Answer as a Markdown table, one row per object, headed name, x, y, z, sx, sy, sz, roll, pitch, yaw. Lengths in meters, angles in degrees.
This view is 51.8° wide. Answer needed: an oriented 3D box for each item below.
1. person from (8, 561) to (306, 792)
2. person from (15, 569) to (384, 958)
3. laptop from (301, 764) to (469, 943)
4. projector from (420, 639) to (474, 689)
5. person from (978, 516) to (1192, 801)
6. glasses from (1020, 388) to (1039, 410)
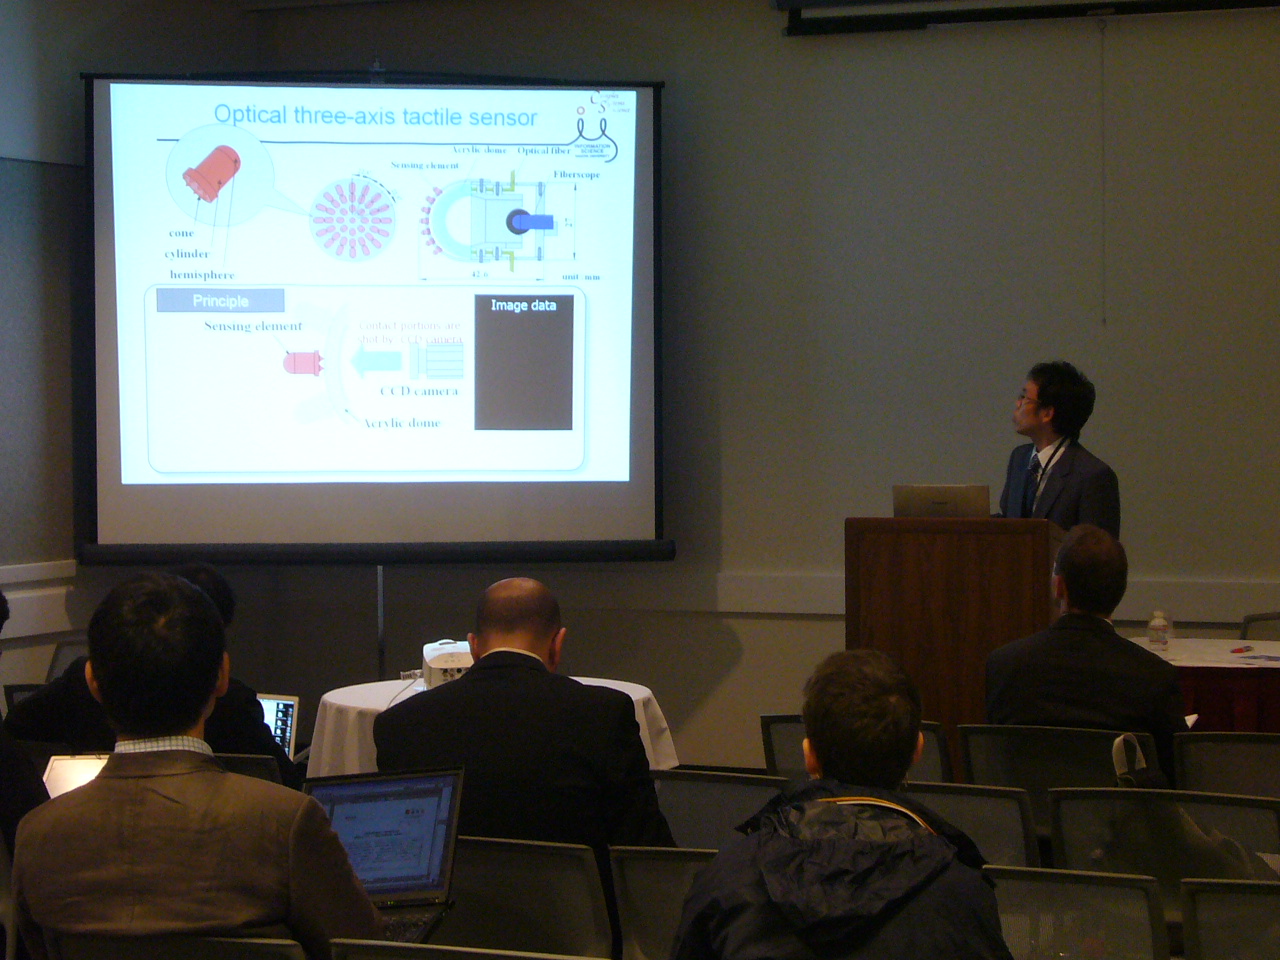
| name | x | y | z | sx | sy | sz | roll | pitch | yaw |
| --- | --- | --- | --- | --- | --- | --- | --- | --- | --- |
| person | -1.484 | 0.571 | 3.911 | 0.847 | 0.809 | 0.440 | 9 | 2 | 3 |
| person | -0.920 | 0.593 | 2.697 | 0.717 | 0.764 | 0.345 | -4 | 6 | -14 |
| laptop | -0.548 | 0.808 | 3.010 | 0.373 | 0.325 | 0.381 | 1 | 6 | 0 |
| projector | -0.665 | 0.615 | 4.512 | 0.161 | 0.091 | 0.238 | 0 | -2 | -9 |
| person | 1.326 | 0.583 | 3.959 | 0.527 | 1.032 | 0.479 | 0 | 26 | 16 |
| glasses | 1.578 | -0.322 | 5.331 | 0.069 | 0.077 | 0.055 | 4 | 6 | 27 |
